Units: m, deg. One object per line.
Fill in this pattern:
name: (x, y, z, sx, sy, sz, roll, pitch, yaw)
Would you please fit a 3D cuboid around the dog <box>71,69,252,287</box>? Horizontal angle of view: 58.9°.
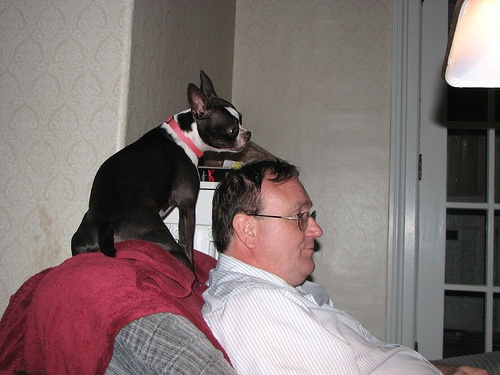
dog: (-0.304, 0.016, 1.668, 0.787, 0.427, 0.677, -23, 110, -45)
